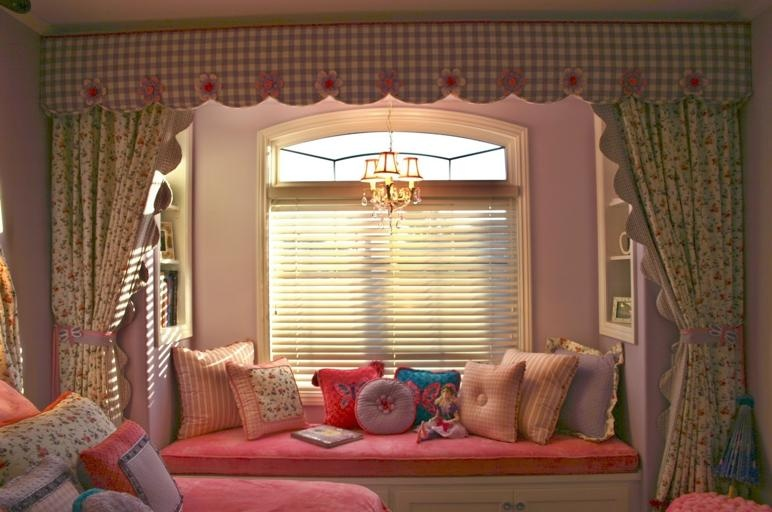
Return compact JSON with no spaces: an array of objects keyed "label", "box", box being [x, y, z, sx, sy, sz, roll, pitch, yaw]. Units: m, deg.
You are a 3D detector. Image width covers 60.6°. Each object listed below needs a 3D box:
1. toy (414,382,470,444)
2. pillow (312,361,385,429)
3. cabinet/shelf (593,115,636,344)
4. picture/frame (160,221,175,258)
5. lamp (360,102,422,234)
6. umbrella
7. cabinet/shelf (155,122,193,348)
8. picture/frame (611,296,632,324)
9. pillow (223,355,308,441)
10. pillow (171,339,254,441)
[{"label":"toy","box":[0.436,1.175,4.868,0.362,0.374,0.295,15,-21,-38]},{"label":"pillow","box":[-0.283,1.089,5.014,0.395,0.388,0.172,-7,-31,7]},{"label":"cabinet/shelf","box":[1.703,-0.222,4.946,0.258,1.726,0.650,0,2,16]},{"label":"picture/frame","box":[-1.687,-0.106,5.069,0.075,0.269,0.171,0,2,11]},{"label":"lamp","box":[0.046,-0.689,5.134,0.494,1.052,0.719,-1,2,-1]},{"label":"umbrella","box":[2.301,1.208,4.298,0.277,0.550,0.149,-1,2,-17]},{"label":"cabinet/shelf","box":[-1.643,-0.177,5.071,0.174,1.677,0.555,-1,2,0]},{"label":"picture/frame","box":[1.760,0.425,4.927,0.117,0.192,0.338,0,1,13]},{"label":"pillow","box":[-0.874,1.076,4.978,0.295,0.564,0.591,-12,-13,39]},{"label":"pillow","box":[-1.255,1.068,5.104,0.239,0.640,0.648,-10,-5,32]}]
